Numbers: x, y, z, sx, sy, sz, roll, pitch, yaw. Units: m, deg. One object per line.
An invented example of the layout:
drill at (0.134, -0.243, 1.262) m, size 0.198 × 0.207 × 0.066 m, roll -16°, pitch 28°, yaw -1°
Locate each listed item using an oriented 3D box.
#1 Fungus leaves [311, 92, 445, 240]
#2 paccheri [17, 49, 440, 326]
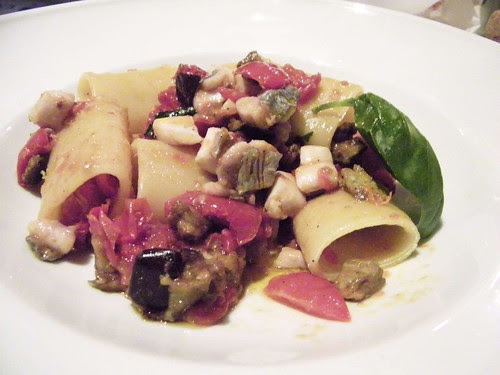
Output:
Fungus leaves at (0.815, -0.136, 2.897) m, size 0.866 × 0.706 × 0.634 m, roll -2°, pitch 20°, yaw -20°
paccheri at (-0.095, -0.017, 2.839) m, size 2.006 × 0.635 × 1.809 m, roll 15°, pitch 35°, yaw 6°
